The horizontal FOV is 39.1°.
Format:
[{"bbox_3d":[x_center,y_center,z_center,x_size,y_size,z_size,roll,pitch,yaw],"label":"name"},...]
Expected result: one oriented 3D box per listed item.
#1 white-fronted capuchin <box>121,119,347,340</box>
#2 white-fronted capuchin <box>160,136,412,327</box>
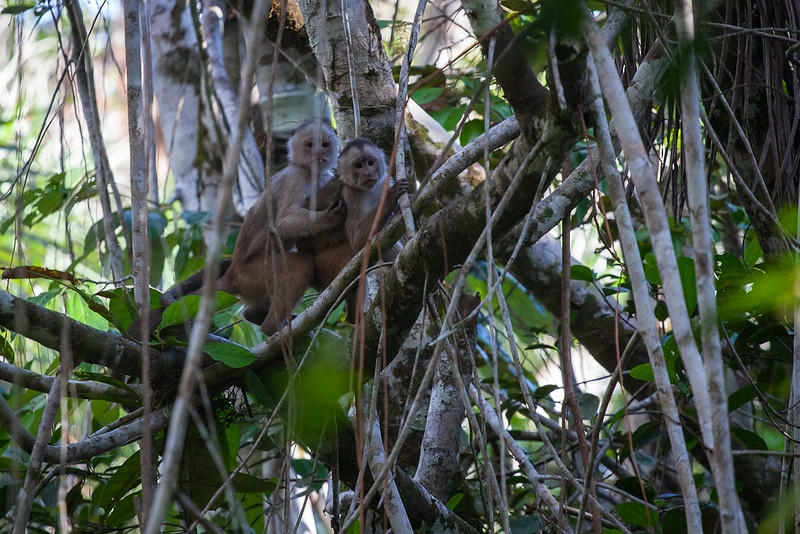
[{"bbox_3d":[-0.853,-0.192,6.463,1.250,1.159,0.570,-11,8,14],"label":"white-fronted capuchin"},{"bbox_3d":[-0.732,-0.155,6.392,1.569,1.065,0.566,-15,16,-4],"label":"white-fronted capuchin"}]
